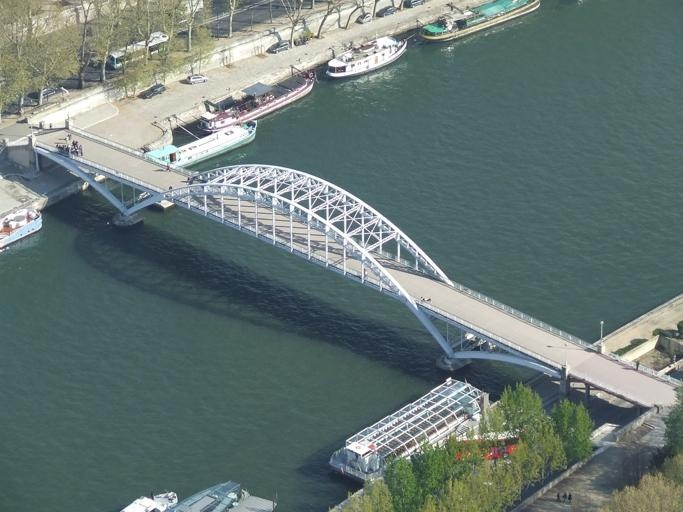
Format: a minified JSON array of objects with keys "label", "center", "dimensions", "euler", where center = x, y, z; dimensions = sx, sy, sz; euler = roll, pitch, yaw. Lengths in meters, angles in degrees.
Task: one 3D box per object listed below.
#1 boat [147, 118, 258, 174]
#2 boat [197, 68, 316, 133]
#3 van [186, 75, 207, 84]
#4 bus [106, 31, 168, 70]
[{"label":"boat","center":[-20.436,-17.202,272.121],"dimensions":[15.369,5.113,1.751],"euler":[-27,39,-25]},{"label":"boat","center":[-13.552,-25.600,283.977],"dimensions":[23.885,4.753,7.389],"euler":[-32,40,-30]},{"label":"van","center":[-23.253,-28.960,287.233],"dimensions":[3.201,1.009,1.406],"euler":[-9,32,-10]},{"label":"bus","center":[-32.596,-33.026,282.931],"dimensions":[9.478,2.350,2.294],"euler":[-29,69,-22]}]
